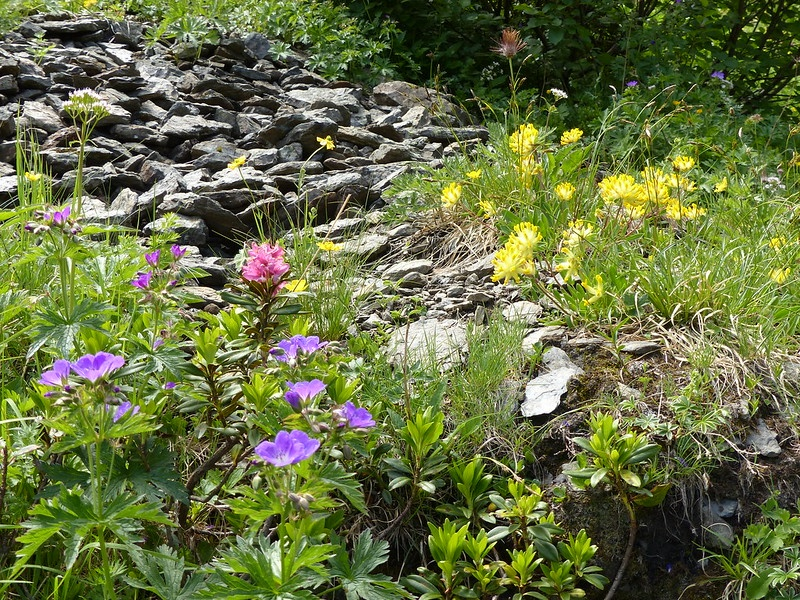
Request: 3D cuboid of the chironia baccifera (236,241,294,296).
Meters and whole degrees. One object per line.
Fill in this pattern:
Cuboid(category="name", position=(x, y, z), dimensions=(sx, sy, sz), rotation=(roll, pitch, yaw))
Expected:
Cuboid(category="chironia baccifera", position=(-0.440, -0.080, 2.474), dimensions=(0.177, 0.191, 0.176), rotation=(-1, -5, -17))

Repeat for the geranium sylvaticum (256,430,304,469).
Cuboid(category="geranium sylvaticum", position=(-0.320, 0.403, 1.957), dimensions=(0.126, 0.106, 0.068), rotation=(15, 25, -13))

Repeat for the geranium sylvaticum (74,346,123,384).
Cuboid(category="geranium sylvaticum", position=(-0.865, 0.189, 2.102), dimensions=(0.127, 0.117, 0.120), rotation=(9, 28, -24))

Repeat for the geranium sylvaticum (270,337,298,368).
Cuboid(category="geranium sylvaticum", position=(-0.358, 0.162, 2.299), dimensions=(0.070, 0.044, 0.084), rotation=(13, 47, 3))

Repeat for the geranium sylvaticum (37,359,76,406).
Cuboid(category="geranium sylvaticum", position=(-0.968, 0.229, 2.089), dimensions=(0.101, 0.051, 0.126), rotation=(-15, 55, 2))

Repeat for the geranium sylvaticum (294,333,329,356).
Cuboid(category="geranium sylvaticum", position=(-0.293, 0.140, 2.331), dimensions=(0.062, 0.037, 0.062), rotation=(10, -5, 30))

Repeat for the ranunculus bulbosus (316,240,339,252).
Cuboid(category="ranunculus bulbosus", position=(-0.339, -0.240, 3.343), dimensions=(0.077, 0.042, 0.073), rotation=(-1, -3, 4))
